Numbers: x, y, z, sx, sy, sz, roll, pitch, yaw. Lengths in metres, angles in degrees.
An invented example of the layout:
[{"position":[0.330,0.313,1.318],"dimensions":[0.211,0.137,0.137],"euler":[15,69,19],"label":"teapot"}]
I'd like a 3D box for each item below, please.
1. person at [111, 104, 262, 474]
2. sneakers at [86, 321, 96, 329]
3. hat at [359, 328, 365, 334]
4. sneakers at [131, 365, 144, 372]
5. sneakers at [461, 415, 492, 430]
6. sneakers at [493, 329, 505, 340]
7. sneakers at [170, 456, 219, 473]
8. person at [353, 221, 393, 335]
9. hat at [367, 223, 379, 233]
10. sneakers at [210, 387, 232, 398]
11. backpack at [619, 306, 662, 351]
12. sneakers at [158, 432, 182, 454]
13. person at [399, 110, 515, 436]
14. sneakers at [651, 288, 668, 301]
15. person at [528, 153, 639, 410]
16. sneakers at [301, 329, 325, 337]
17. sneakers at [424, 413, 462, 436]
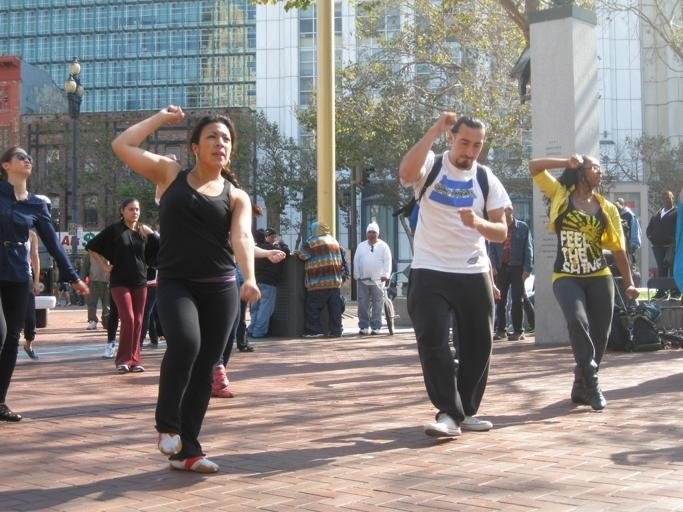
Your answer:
[{"position":[-1.176,0.242,7.279],"dimensions":[1.012,2.892,0.661],"euler":[0,2,-13],"label":"person"},{"position":[-5.476,1.492,20.285],"dimensions":[0.134,0.169,0.398],"euler":[0,-9,-7],"label":"sneakers"},{"position":[0.379,1.434,17.778],"dimensions":[0.092,0.083,0.068],"euler":[-3,0,-6],"label":"hat"},{"position":[-2.686,1.468,12.221],"dimensions":[0.175,0.074,0.063],"euler":[0,1,-14],"label":"sneakers"},{"position":[1.214,1.501,8.470],"dimensions":[0.335,0.132,0.123],"euler":[1,-3,-10],"label":"sneakers"},{"position":[2.713,1.355,16.067],"dimensions":[0.184,0.174,0.113],"euler":[-1,1,-3],"label":"sneakers"},{"position":[-1.151,1.631,7.375],"dimensions":[0.384,0.163,0.148],"euler":[-3,-6,16],"label":"sneakers"},{"position":[0.572,0.427,17.843],"dimensions":[0.681,2.075,0.849],"euler":[0,2,2],"label":"person"},{"position":[0.608,-0.576,18.140],"dimensions":[0.212,0.288,0.214],"euler":[1,-28,-4],"label":"hat"},{"position":[-1.316,1.493,10.177],"dimensions":[0.306,0.139,0.122],"euler":[-4,-9,13],"label":"sneakers"},{"position":[4.367,1.065,13.683],"dimensions":[0.563,0.647,0.360],"euler":[-2,-15,-17],"label":"backpack"},{"position":[-1.317,1.419,7.141],"dimensions":[0.166,0.155,0.109],"euler":[-1,2,-15],"label":"sneakers"},{"position":[0.959,0.169,8.137],"dimensions":[0.920,2.808,0.537],"euler":[0,2,-2],"label":"person"},{"position":[5.713,0.675,16.743],"dimensions":[0.287,0.319,0.284],"euler":[-1,-4,19],"label":"sneakers"},{"position":[2.416,0.235,9.491],"dimensions":[0.987,2.508,0.755],"euler":[0,2,7],"label":"person"},{"position":[-0.536,1.403,16.976],"dimensions":[0.372,0.158,0.134],"euler":[-5,1,7],"label":"sneakers"},{"position":[0.865,1.466,8.032],"dimensions":[0.142,0.159,0.350],"euler":[-26,-38,37],"label":"sneakers"}]
